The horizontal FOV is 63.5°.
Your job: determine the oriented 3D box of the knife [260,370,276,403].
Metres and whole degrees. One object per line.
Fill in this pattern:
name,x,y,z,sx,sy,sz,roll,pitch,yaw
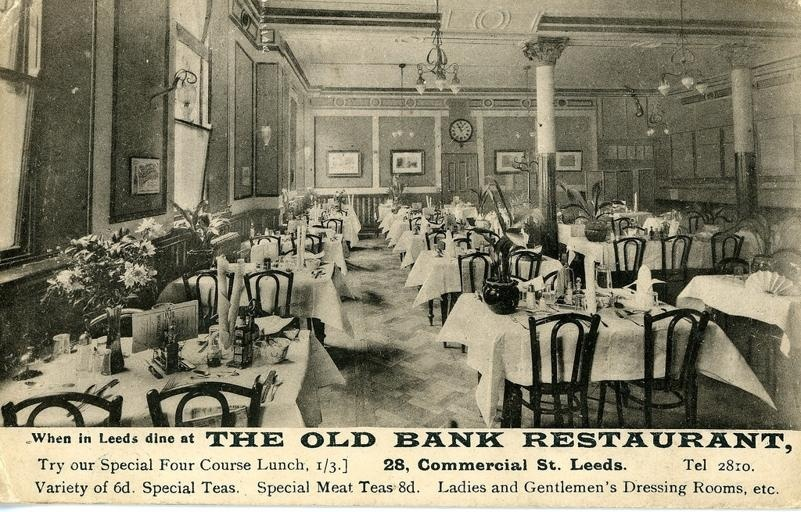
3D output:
knife,-1.058,1.043,5.199,0.112,0.205,0.231,0,3,-6

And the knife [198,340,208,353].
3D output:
knife,-1.701,0.768,5.553,0.083,0.027,0.106,0,16,-11

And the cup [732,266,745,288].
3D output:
cup,3.540,0.215,6.735,0.113,0.149,0.381,0,15,23

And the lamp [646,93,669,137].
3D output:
lamp,5.181,-2.822,12.956,0.408,0.766,1.100,1,3,21

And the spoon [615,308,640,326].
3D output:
spoon,2.051,0.544,5.806,0.231,0.106,0.254,1,4,15

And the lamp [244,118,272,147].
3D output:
lamp,-2.192,-1.903,9.932,0.314,0.382,0.316,0,0,-14

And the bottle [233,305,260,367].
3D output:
bottle,-1.313,0.648,5.430,0.229,0.535,0.239,0,3,0

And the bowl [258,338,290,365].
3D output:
bowl,-1.062,0.802,5.439,0.208,0.137,0.188,-2,5,13

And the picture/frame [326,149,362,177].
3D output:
picture/frame,-1.290,-2.089,14.249,0.610,0.445,0.046,-1,4,-5

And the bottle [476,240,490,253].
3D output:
bottle,1.013,-0.120,7.815,0.140,0.135,0.135,0,-3,5

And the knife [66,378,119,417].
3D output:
knife,-2.435,1.096,5.091,0.141,0.061,0.372,34,24,9

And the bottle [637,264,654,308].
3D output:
bottle,2.282,0.276,6.014,0.153,0.388,0.205,1,3,18

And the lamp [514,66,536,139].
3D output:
lamp,2.728,-3.257,13.894,0.317,1.347,1.037,1,3,11

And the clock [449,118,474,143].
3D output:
clock,1.341,-2.779,14.346,0.512,0.501,0.109,-3,9,-3

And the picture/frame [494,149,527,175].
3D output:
picture/frame,2.432,-2.140,14.440,0.577,0.404,0.020,-1,1,-9

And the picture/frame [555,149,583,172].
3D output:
picture/frame,3.810,-2.149,14.808,0.797,0.433,0.573,2,-3,4

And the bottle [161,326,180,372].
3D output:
bottle,-1.887,0.762,5.307,0.134,0.380,0.085,-1,3,-21
